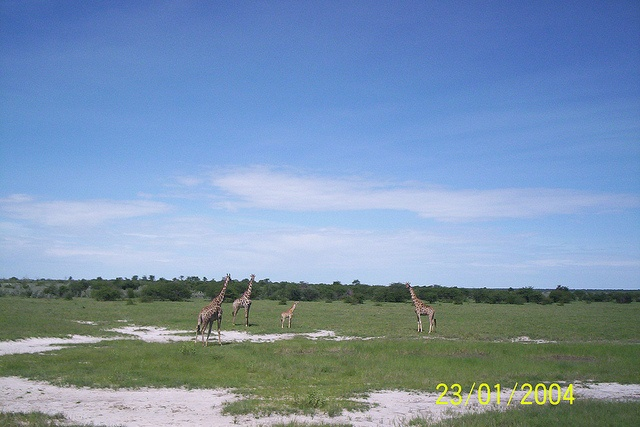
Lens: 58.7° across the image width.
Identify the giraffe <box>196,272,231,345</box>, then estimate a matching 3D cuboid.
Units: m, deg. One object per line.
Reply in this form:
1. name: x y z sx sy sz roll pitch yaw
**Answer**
1. giraffe: -9.497 8.402 50.454 2.484 5.454 11.083 0 1 -8
